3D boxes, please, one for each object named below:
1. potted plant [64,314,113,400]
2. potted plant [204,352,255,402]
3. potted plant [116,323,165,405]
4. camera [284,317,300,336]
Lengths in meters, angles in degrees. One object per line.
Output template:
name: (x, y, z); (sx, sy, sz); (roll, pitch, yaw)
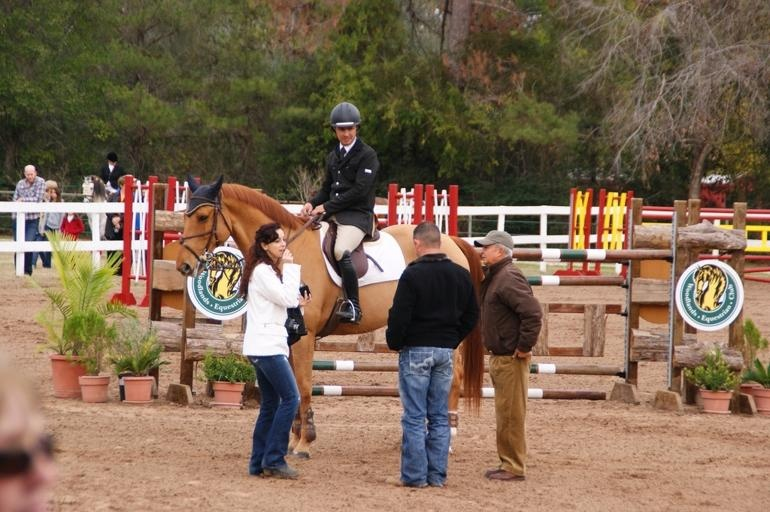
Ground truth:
potted plant: (-7.275, 2.526, 33.454); (0.958, 2.275, 1.158); (-3, -5, -40)
potted plant: (-3.859, 2.868, 33.730); (1.197, 1.279, 1.015); (3, -9, -9)
potted plant: (-6.153, 2.646, 33.974); (1.503, 2.544, 1.637); (0, -2, 6)
camera: (-2.124, 1.576, 31.036); (0.335, 0.385, 0.134); (11, -5, -11)
